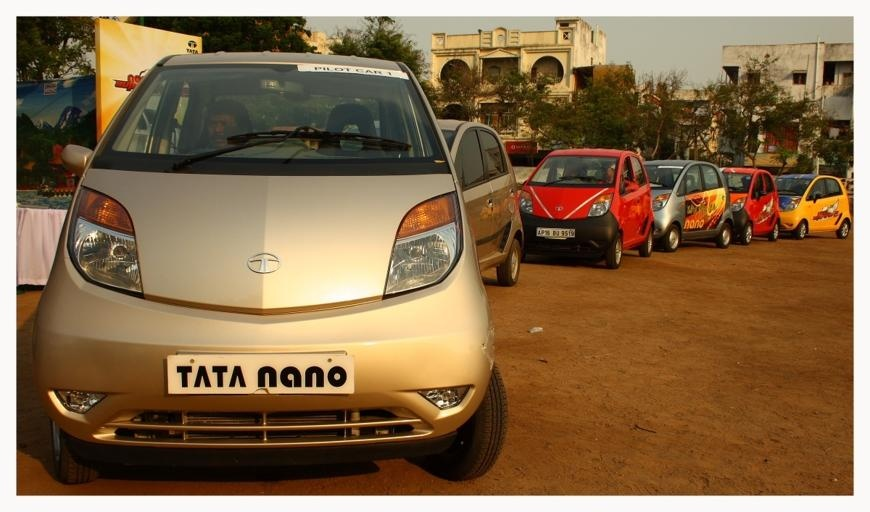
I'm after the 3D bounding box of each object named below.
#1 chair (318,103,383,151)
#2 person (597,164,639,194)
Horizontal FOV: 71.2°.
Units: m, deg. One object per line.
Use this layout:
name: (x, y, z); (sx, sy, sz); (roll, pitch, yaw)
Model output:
chair: (-0.587, -1.073, 4.862); (0.385, 0.280, 0.635); (6, 18, 12)
person: (3.864, -1.563, 12.489); (0.520, 0.419, 0.836); (1, -5, 27)
